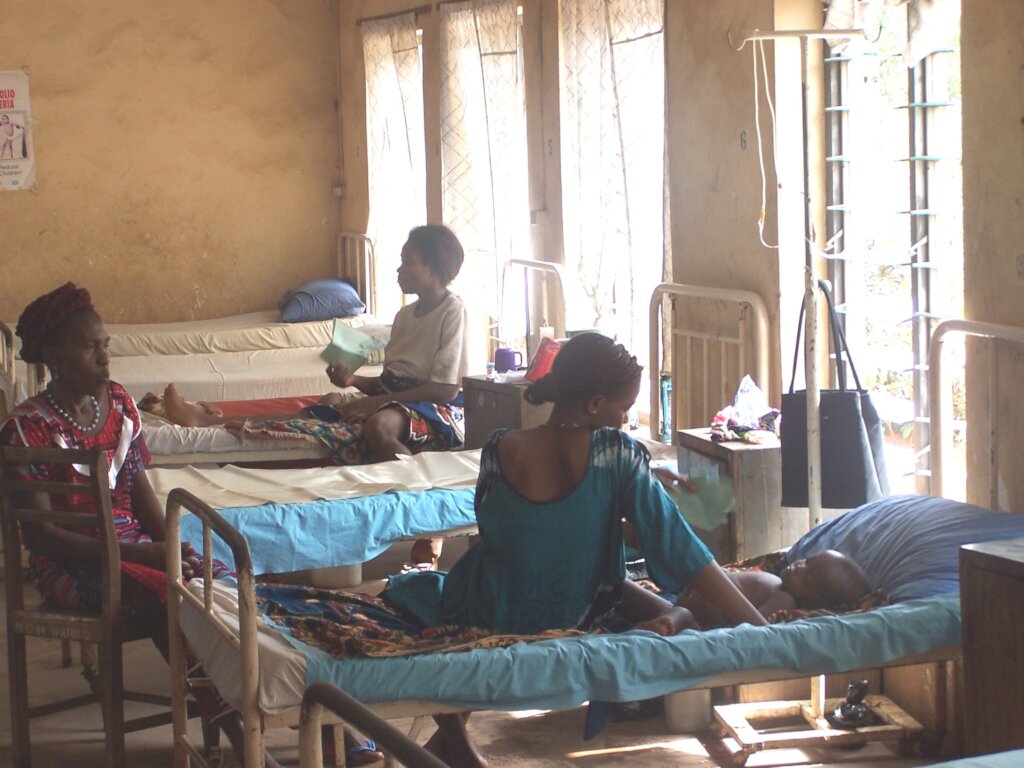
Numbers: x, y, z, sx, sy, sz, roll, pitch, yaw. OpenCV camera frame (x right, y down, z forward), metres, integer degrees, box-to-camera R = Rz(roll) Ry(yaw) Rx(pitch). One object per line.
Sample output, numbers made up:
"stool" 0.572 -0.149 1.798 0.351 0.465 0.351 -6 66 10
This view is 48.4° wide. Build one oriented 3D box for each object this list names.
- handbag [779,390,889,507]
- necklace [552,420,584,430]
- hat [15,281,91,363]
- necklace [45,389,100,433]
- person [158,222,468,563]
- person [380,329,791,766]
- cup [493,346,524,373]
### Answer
"handbag" 1.030 0.211 3.667 0.371 0.411 0.300 -4 4 25
"necklace" 0.155 0.109 3.067 0.067 0.019 0.030 -2 2 5
"hat" -1.366 -0.187 3.478 0.288 0.134 0.306 -8 -9 -34
"necklace" -1.308 0.079 3.408 0.104 0.047 0.153 21 -20 24
"person" -0.650 -0.183 5.144 1.042 1.158 0.745 -2 7 -44
"person" 0.154 0.271 3.151 1.006 0.815 0.336 -1 3 28
"cup" -0.015 -0.117 5.453 0.109 0.127 0.206 -1 2 36
